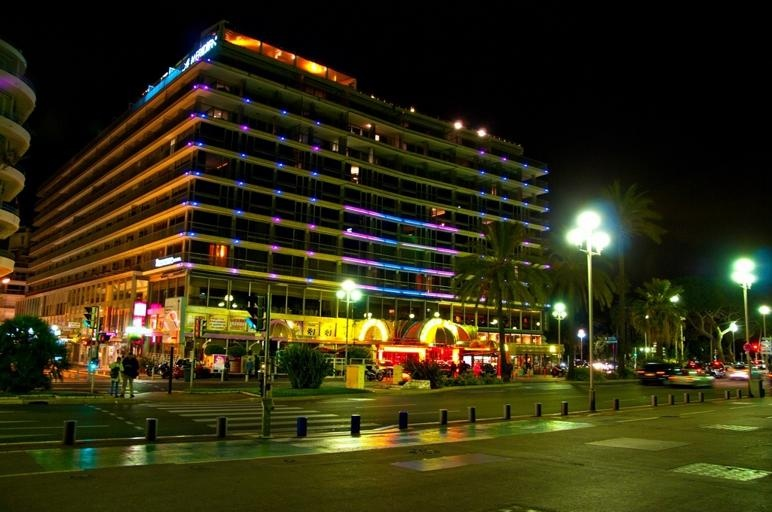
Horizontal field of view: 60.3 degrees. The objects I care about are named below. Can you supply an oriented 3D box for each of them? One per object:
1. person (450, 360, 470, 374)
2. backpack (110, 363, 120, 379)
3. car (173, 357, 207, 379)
[{"bbox_3d":[6.986,10.587,62.628,1.308,0.634,1.585,-1,-5,-4],"label":"person"},{"bbox_3d":[-14.427,6.196,35.591,0.504,0.844,0.748,6,-16,-20],"label":"backpack"},{"bbox_3d":[-15.637,9.354,54.026,2.064,1.929,2.566,3,-9,-23],"label":"car"}]
